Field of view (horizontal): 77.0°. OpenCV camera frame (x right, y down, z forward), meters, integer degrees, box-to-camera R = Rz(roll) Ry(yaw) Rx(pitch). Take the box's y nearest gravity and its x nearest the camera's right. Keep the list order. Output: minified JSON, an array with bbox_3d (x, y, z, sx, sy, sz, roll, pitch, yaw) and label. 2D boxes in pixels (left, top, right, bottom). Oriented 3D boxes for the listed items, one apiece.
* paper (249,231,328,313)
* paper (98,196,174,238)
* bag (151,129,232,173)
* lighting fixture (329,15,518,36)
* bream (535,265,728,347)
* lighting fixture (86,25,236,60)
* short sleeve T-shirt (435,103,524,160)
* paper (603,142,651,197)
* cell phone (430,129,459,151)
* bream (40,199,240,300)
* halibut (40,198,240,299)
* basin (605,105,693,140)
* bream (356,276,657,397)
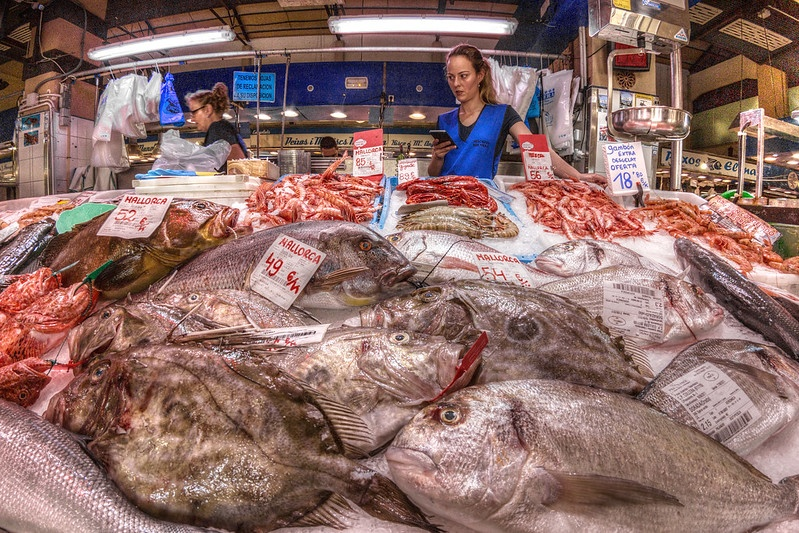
[{"bbox_3d":[-0.526,0.035,2.417,0.342,0.334,0.079,24,-7,14],"label":"paper"},{"bbox_3d":[-1.358,-0.241,2.583,0.352,0.070,0.375,-13,-21,-32],"label":"paper"},{"bbox_3d":[-1.755,-0.988,4.282,0.583,0.331,0.335,-5,19,-19],"label":"bag"},{"bbox_3d":[0.283,-3.129,6.493,2.373,0.201,0.298,1,17,0],"label":"lighting fixture"},{"bbox_3d":[1.034,0.162,2.360,0.916,0.389,0.213,4,-18,-1],"label":"bream"},{"bbox_3d":[-3.398,-3.201,7.188,2.376,0.390,0.477,8,19,21],"label":"lighting fixture"},{"bbox_3d":[0.664,-1.176,4.724,0.749,0.683,0.430,9,17,29],"label":"short sleeve T-shirt"},{"bbox_3d":[1.640,-0.698,3.632,0.390,0.355,0.095,-5,0,-7],"label":"paper"},{"bbox_3d":[0.332,-0.987,3.839,0.178,0.115,0.380,2,17,4],"label":"cell phone"},{"bbox_3d":[-1.405,-0.095,2.657,1.271,0.469,0.333,-10,0,7],"label":"bream"},{"bbox_3d":[-1.389,-0.093,2.674,1.303,0.453,0.341,-11,-4,8],"label":"halibut"},{"bbox_3d":[1.948,-1.060,3.832,0.490,0.170,0.502,6,5,0],"label":"basin"},{"bbox_3d":[0.491,0.298,2.125,1.248,0.505,0.372,10,-17,13],"label":"bream"}]
